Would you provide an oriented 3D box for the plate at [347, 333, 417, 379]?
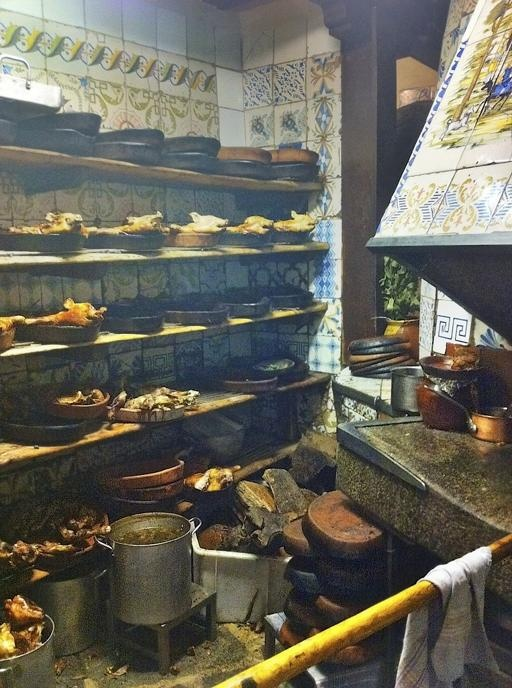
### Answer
[{"bbox_3d":[0.759,0.083,3.430,0.372,0.250,0.118,1,6,13],"label":"plate"}]

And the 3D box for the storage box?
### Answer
[{"bbox_3d":[-0.080,1.192,3.007,0.578,0.325,0.411,2,-1,-4],"label":"storage box"}]

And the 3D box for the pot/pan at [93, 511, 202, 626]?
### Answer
[{"bbox_3d":[-0.517,0.974,2.688,0.517,0.357,0.495,0,-1,-26],"label":"pot/pan"}]

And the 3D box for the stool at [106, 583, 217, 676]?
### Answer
[{"bbox_3d":[-0.396,1.361,2.690,0.329,0.230,0.330,0,1,43],"label":"stool"}]
